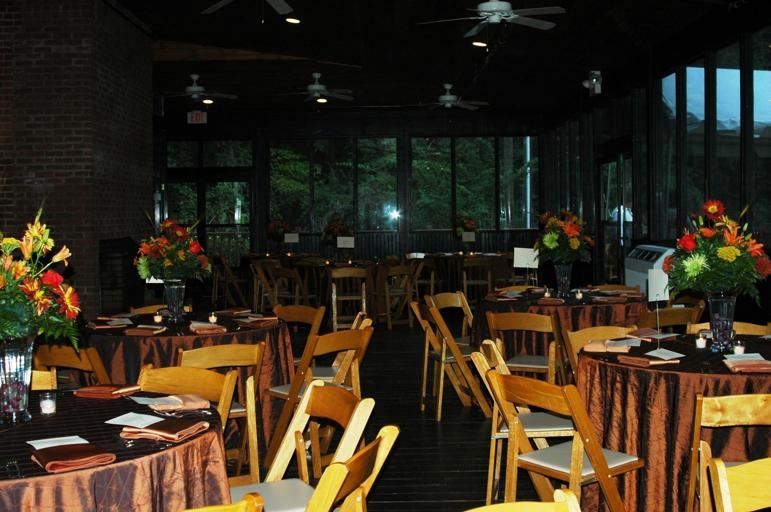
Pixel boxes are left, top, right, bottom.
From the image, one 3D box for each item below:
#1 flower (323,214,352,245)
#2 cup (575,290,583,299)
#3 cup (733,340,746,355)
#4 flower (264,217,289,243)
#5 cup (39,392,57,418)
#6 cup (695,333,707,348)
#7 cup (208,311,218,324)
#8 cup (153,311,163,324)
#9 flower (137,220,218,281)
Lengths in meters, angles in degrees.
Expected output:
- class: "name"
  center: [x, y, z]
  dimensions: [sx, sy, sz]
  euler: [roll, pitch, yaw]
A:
- class: "flower"
  center: [-0.789, -0.450, 11.407]
  dimensions: [0.484, 0.484, 0.494]
  euler: [-3, -1, 31]
- class: "cup"
  center: [1.826, 0.365, 6.397]
  dimensions: [0.077, 0.120, 0.089]
  euler: [2, 1, 9]
- class: "cup"
  center: [2.198, 0.569, 4.189]
  dimensions: [0.080, 0.083, 0.082]
  euler: [0, -4, 0]
- class: "flower"
  center: [-1.942, -0.431, 12.312]
  dimensions: [0.396, 0.392, 0.288]
  euler: [-3, -1, 28]
- class: "cup"
  center: [-1.723, 0.758, 3.441]
  dimensions: [0.100, 0.111, 0.106]
  euler: [3, -3, 0]
- class: "cup"
  center: [2.005, 0.541, 4.323]
  dimensions: [0.090, 0.092, 0.088]
  euler: [1, -4, 0]
- class: "cup"
  center: [-1.371, 0.500, 5.423]
  dimensions: [0.089, 0.087, 0.074]
  euler: [0, 3, -8]
- class: "cup"
  center: [-1.849, 0.500, 5.481]
  dimensions: [0.090, 0.098, 0.088]
  euler: [0, -5, 0]
- class: "flower"
  center: [-1.703, 0.034, 5.501]
  dimensions: [0.556, 0.541, 0.547]
  euler: [-10, 15, -25]
